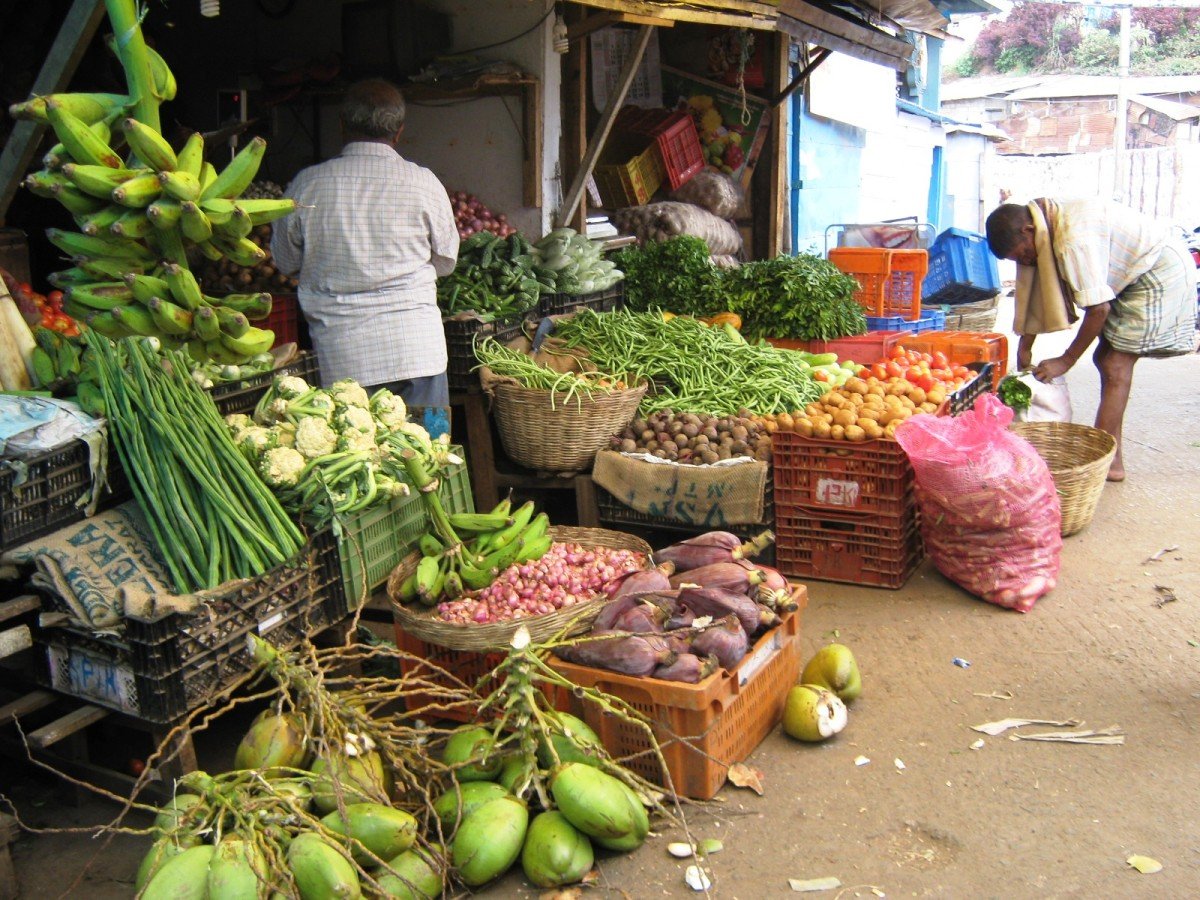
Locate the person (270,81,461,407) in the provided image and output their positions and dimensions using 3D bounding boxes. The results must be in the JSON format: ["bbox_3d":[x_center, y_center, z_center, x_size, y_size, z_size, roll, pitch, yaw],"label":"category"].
[{"bbox_3d":[-1.246,-1.010,4.802,0.813,1.793,0.732,-5,20,-24],"label":"person"}]

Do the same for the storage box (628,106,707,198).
[{"bbox_3d":[0.622,-2.938,8.454,0.498,0.819,0.796,-29,32,-27],"label":"storage box"}]

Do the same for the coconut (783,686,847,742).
[{"bbox_3d":[0.833,1.048,3.509,0.187,0.150,0.229,-21,24,-18],"label":"coconut"}]

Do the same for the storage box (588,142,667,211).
[{"bbox_3d":[0.281,-2.680,8.367,0.545,0.401,0.921,-12,36,26],"label":"storage box"}]

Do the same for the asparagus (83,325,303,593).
[{"bbox_3d":[-1.522,0.116,3.415,0.435,1.472,0.303,-28,-2,-9],"label":"asparagus"}]

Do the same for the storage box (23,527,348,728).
[{"bbox_3d":[-1.565,0.439,3.450,0.965,0.607,1.031,16,23,32],"label":"storage box"}]

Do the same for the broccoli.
[{"bbox_3d":[-1.104,-0.035,3.721,0.667,0.326,0.661,10,32,-47],"label":"broccoli"}]

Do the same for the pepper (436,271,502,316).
[{"bbox_3d":[-0.832,-0.947,5.474,0.263,0.152,0.340,1,5,-27],"label":"pepper"}]

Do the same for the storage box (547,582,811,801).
[{"bbox_3d":[0.388,0.896,3.376,0.584,0.374,0.936,4,11,28],"label":"storage box"}]

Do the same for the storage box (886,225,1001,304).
[{"bbox_3d":[3.359,-1.696,8.383,0.668,0.515,0.663,-1,2,-34],"label":"storage box"}]

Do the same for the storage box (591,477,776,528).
[{"bbox_3d":[0.252,0.383,5.079,0.471,0.132,0.478,1,3,17],"label":"storage box"}]

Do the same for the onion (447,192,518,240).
[{"bbox_3d":[-0.831,-1.612,6.105,0.449,0.357,0.184,0,-1,-11],"label":"onion"}]
